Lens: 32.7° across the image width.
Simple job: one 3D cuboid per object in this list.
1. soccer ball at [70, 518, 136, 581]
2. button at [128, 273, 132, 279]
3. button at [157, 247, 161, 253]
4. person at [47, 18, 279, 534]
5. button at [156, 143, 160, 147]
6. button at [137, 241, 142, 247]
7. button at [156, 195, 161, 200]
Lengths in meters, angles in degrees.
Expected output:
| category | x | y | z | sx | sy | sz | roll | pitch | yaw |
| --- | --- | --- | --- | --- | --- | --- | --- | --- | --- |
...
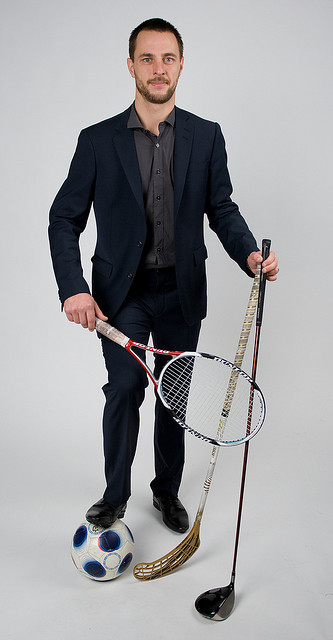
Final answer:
| category | x | y | z | sx | sy | sz | roll | pitch | yaw |
| --- | --- | --- | --- | --- | --- | --- | --- | --- | --- |
| soccer ball | -0.260 | 0.920 | 2.265 | 0.244 | 0.222 | 0.165 | 0 | 11 | -7 |
| button | -0.148 | -0.177 | 2.252 | 0.016 | 0.016 | 0.017 | 6 | -12 | 0 |
| button | -0.033 | -0.288 | 2.310 | 0.017 | 0.018 | 0.005 | -5 | 13 | -27 |
| person | -0.060 | -0.062 | 2.306 | 0.811 | 2.178 | 0.713 | -2 | 12 | -13 |
| button | -0.038 | -0.689 | 2.234 | 0.018 | 0.018 | 0.004 | 2 | -1 | -24 |
| button | -0.108 | -0.300 | 2.220 | 0.019 | 0.021 | 0.005 | 1 | 4 | 20 |
| button | -0.035 | -0.489 | 2.254 | 0.015 | 0.017 | 0.004 | -4 | 12 | -22 |
